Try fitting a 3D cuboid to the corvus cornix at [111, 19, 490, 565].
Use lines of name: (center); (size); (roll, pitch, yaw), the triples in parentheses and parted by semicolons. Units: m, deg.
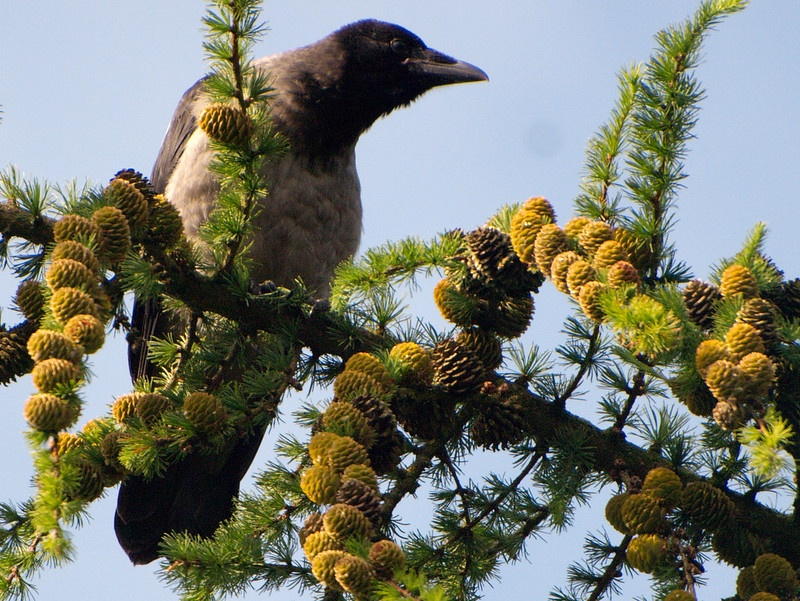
corvus cornix: (-0.404, 0.138, 7.260); (0.569, 0.728, 1.926); (38, -106, -56)
